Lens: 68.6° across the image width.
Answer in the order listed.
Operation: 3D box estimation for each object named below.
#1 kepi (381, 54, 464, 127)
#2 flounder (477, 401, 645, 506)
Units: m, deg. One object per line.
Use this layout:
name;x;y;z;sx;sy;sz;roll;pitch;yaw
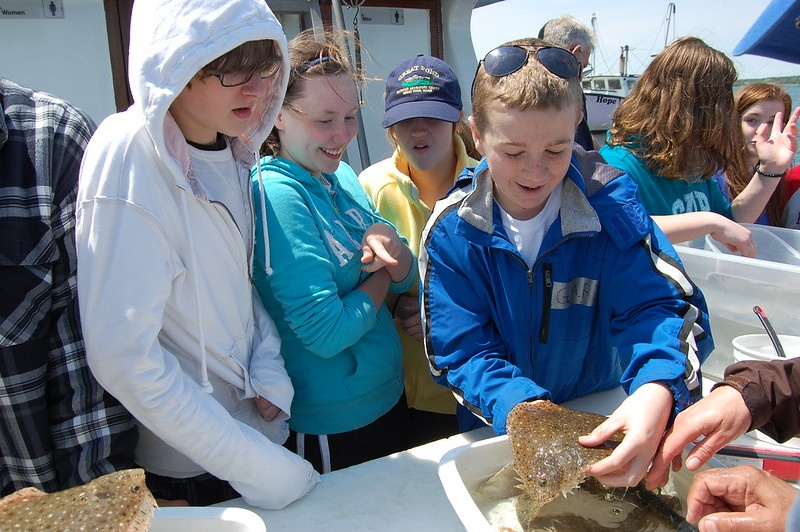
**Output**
kepi;0.130;-1.000;3.289;0.313;0.298;0.480;1;20;9
flounder;0.534;0.591;2.020;0.370;0.117;0.321;7;63;-10
